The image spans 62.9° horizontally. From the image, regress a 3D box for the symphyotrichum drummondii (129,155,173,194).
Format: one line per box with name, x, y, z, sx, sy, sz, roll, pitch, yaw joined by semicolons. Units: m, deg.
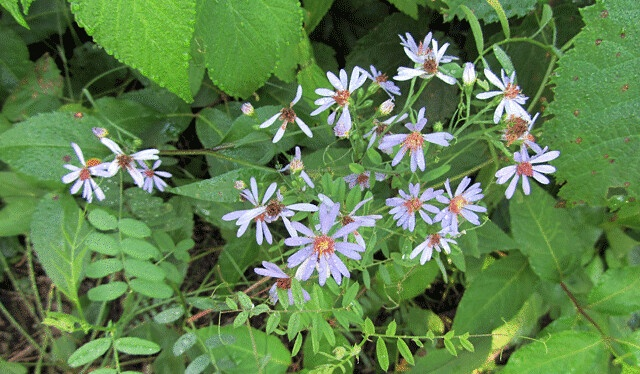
symphyotrichum drummondii;-0.755;-0.058;2.342;0.040;0.164;0.162;20;64;-25
